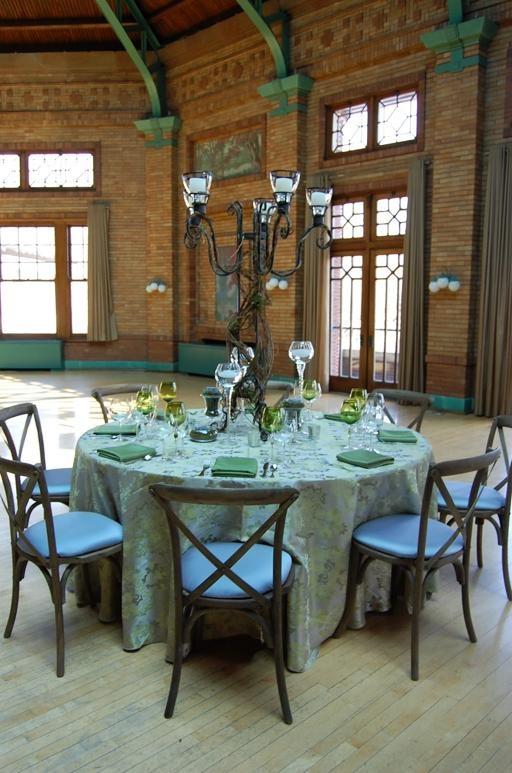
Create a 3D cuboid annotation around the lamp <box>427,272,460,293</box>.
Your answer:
[{"bbox_3d":[2.258,-1.231,7.090,0.252,0.112,0.249,2,14,44],"label":"lamp"}]

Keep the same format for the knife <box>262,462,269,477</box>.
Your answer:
[{"bbox_3d":[0.031,0.280,2.031,0.013,0.015,0.050,18,50,4],"label":"knife"}]

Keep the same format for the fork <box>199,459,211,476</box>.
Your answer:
[{"bbox_3d":[-0.174,0.280,2.043,0.039,0.014,0.138,0,7,-3],"label":"fork"}]

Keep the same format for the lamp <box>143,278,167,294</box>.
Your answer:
[{"bbox_3d":[-1.904,-1.869,11.129,0.498,0.262,0.228,6,9,38],"label":"lamp"}]

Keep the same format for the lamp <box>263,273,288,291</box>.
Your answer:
[{"bbox_3d":[0.330,-1.601,9.156,0.312,0.219,0.483,1,7,1],"label":"lamp"}]
